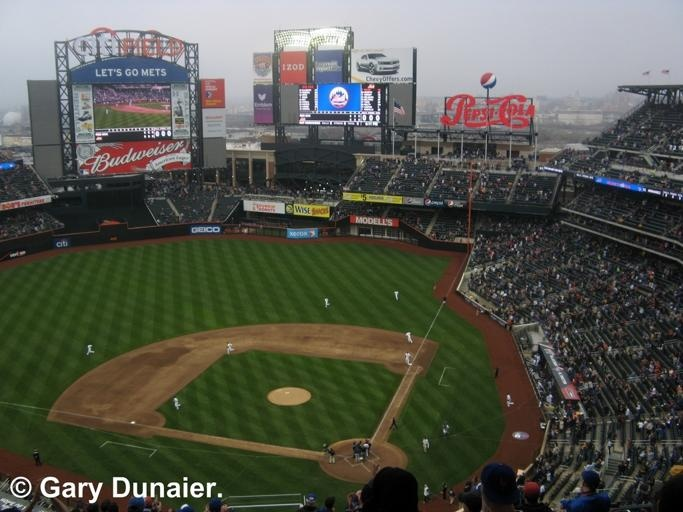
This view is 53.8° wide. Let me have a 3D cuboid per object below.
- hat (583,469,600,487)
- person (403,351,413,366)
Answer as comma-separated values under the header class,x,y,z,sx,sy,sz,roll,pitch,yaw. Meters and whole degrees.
class,x,y,z,sx,sy,sz,roll,pitch,yaw
hat,5.086,4.549,13.777,0.309,0.192,0.391,0,21,2
person,4.041,6.132,40.736,0.440,0.417,0.716,7,22,7
